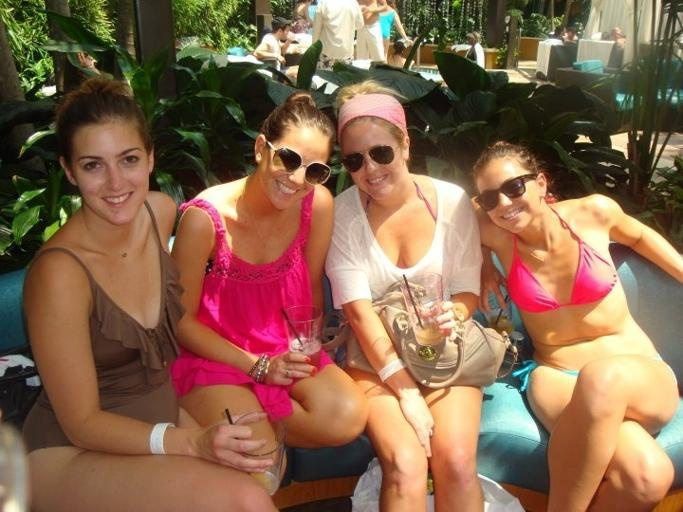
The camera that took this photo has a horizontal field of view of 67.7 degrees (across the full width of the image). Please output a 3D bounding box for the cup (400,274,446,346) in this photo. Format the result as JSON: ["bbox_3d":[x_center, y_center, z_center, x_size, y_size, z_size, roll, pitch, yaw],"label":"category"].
[{"bbox_3d":[0.379,0.248,2.389,0.183,0.324,0.136,3,17,12],"label":"cup"}]

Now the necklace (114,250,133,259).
[{"bbox_3d":[-0.909,-0.009,2.117,0.037,0.038,0.009,10,-21,-38],"label":"necklace"}]

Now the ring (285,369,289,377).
[{"bbox_3d":[-0.252,0.550,2.372,0.012,0.024,0.023,0,24,12],"label":"ring"}]

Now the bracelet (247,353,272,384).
[{"bbox_3d":[-0.381,0.535,2.393,0.050,0.118,0.089,26,1,-15],"label":"bracelet"}]

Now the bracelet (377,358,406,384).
[{"bbox_3d":[0.240,0.547,2.460,0.113,0.035,0.088,-30,5,-7],"label":"bracelet"}]

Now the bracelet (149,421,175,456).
[{"bbox_3d":[-0.668,0.684,1.914,0.036,0.091,0.089,8,-18,-6],"label":"bracelet"}]

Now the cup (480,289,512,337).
[{"bbox_3d":[0.882,0.323,2.922,0.129,0.254,0.241,-6,29,13],"label":"cup"}]

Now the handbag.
[{"bbox_3d":[0.441,0.425,2.438,0.629,0.563,0.263,14,-23,5],"label":"handbag"}]
